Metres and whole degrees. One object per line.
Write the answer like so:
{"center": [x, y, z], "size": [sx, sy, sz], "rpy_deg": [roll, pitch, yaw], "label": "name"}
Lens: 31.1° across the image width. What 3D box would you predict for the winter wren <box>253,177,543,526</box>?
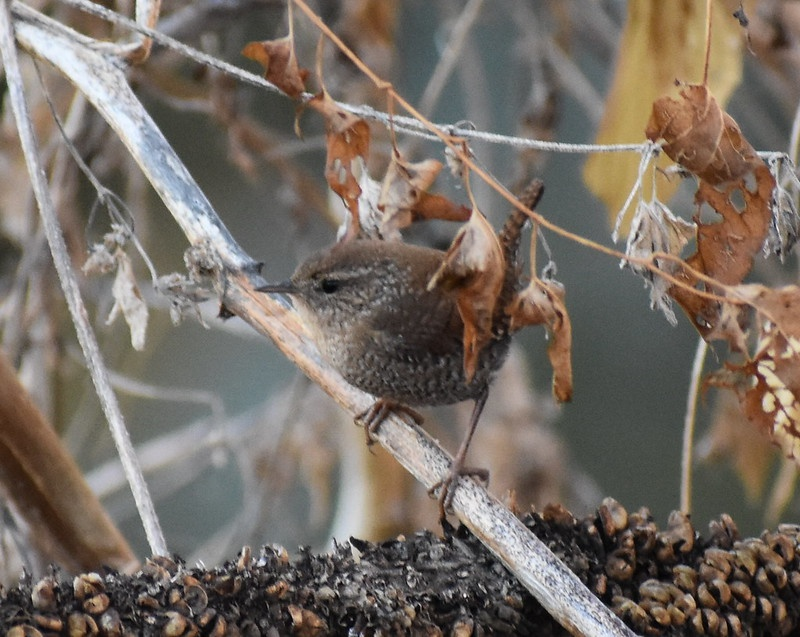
{"center": [0.073, 0.025, 3.156], "size": [0.679, 0.601, 0.396], "rpy_deg": [-18, 26, -19], "label": "winter wren"}
